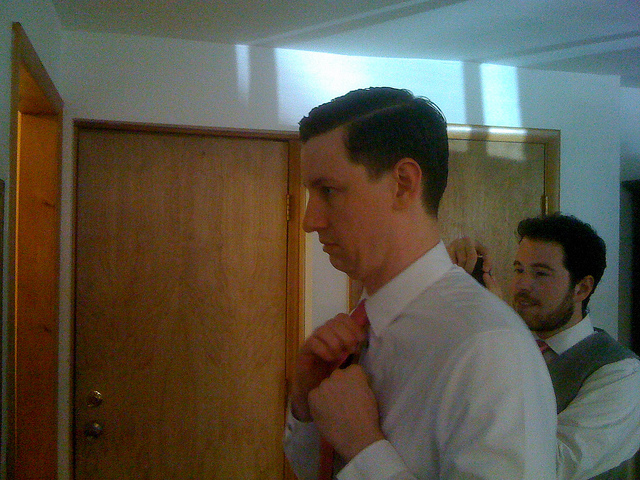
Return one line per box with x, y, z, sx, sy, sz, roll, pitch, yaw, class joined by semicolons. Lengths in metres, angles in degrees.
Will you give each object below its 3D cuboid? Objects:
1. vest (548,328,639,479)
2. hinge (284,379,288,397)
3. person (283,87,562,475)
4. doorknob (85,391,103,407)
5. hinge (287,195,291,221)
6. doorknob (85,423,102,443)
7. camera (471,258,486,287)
1.076;0.665;2.248;0.359;0.584;0.310;-2;2;3;vest
-0.159;0.684;2.734;0.015;0.076;0.009;-2;2;10;hinge
0.234;0.157;1.755;0.858;1.246;0.292;-1;2;20;person
-0.995;0.693;2.576;0.074;0.067;0.016;-2;2;-5;doorknob
-0.145;-0.154;2.743;0.019;0.117;0.009;-2;2;-3;hinge
-0.994;0.835;2.564;0.046;0.080;0.043;29;-31;-18;doorknob
0.636;0.125;2.364;0.051;0.104;0.061;-2;2;10;camera
